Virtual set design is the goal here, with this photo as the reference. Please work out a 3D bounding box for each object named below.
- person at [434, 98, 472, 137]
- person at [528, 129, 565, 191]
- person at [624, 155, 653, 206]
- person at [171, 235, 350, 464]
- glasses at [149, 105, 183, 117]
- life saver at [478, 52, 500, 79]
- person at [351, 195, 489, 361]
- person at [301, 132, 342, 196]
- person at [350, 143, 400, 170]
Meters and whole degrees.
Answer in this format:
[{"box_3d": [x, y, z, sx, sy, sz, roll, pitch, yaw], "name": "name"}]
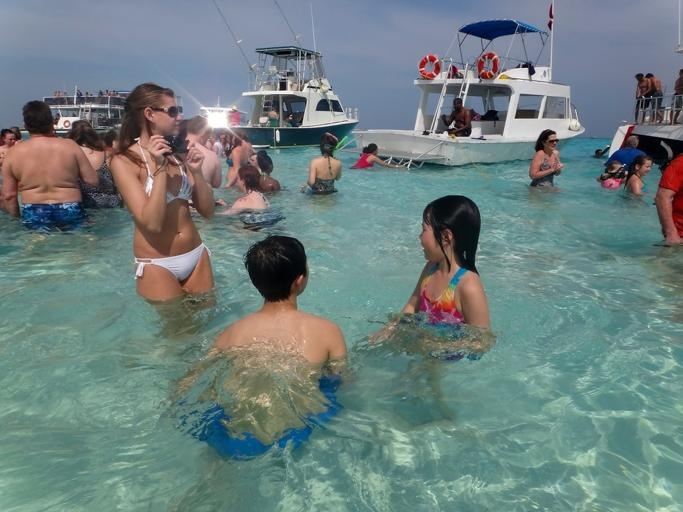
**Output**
[{"box_3d": [3.959, -4.757, 16.460, 0.952, 1.219, 2.194, 4, 18, 11], "name": "person"}, {"box_3d": [4.446, -2.081, 10.422, 0.613, 1.256, 1.135, 7, 20, 19], "name": "person"}, {"box_3d": [6.381, -1.745, 10.409, 0.424, 0.857, 1.153, 11, 21, 29], "name": "person"}, {"box_3d": [-0.499, 0.546, 3.152, 0.735, 1.196, 0.994, 14, 24, 36], "name": "person"}, {"box_3d": [-1.476, -1.237, 4.061, 0.246, 0.063, 0.225, 4, 10, 8], "name": "glasses"}, {"box_3d": [4.918, -6.350, 16.161, 0.693, 0.813, 0.459, 4, 20, 11], "name": "life saver"}, {"box_3d": [0.785, 0.159, 3.841, 0.876, 1.260, 0.502, 5, 21, 16], "name": "person"}, {"box_3d": [-0.414, -1.936, 10.229, 0.784, 1.300, 0.521, -2, 20, -4], "name": "person"}, {"box_3d": [1.132, -3.047, 15.177, 1.162, 0.454, 1.095, -21, 45, -25], "name": "person"}]
